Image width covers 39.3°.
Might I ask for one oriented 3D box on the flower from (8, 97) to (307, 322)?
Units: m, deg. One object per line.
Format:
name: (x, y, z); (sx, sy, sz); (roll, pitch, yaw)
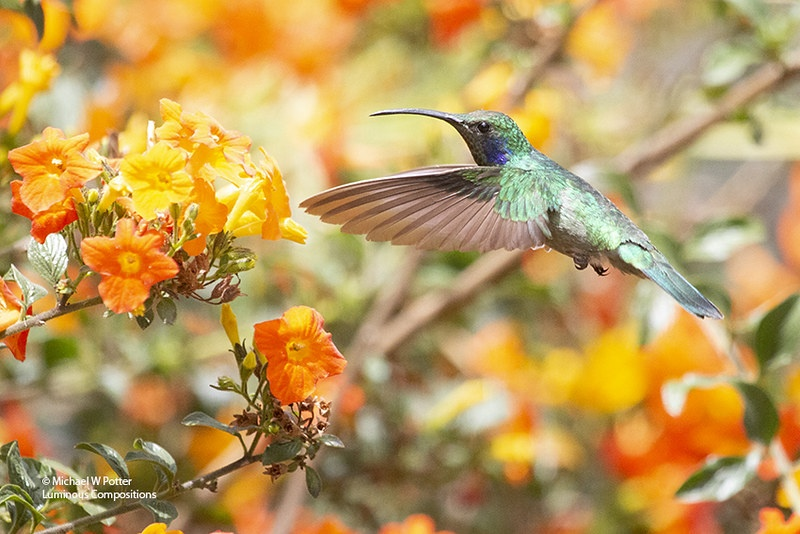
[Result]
flower: (-0.668, -0.147, 3.133); (0.712, 0.600, 0.387); (3, -98, 11)

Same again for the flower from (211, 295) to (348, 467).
flower: (-0.329, 0.337, 3.040); (0.347, 0.344, 0.364); (-1, -55, 8)
